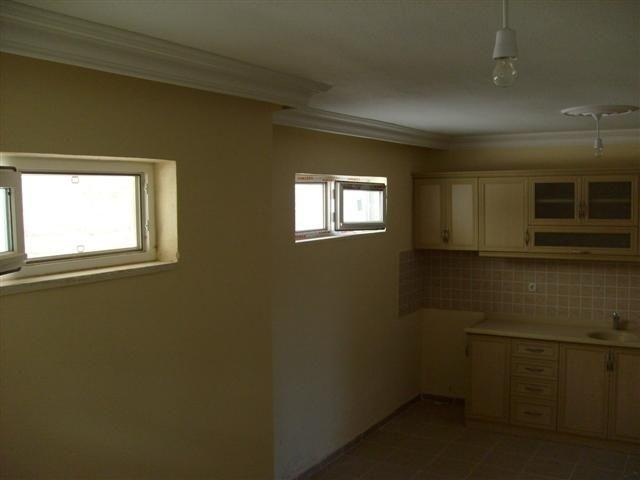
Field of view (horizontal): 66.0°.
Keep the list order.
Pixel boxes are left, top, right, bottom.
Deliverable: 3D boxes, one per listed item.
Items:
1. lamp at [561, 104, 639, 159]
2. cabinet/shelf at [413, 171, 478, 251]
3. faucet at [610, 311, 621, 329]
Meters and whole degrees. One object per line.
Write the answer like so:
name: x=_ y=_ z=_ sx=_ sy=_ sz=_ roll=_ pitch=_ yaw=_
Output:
lamp: x=2.242 y=-0.834 z=3.931 sx=0.432 sy=0.292 sz=0.442 roll=2 pitch=-1 yaw=-21
cabinet/shelf: x=1.426 y=-0.345 z=5.497 sx=0.797 sy=0.970 sz=0.347 roll=0 pitch=0 yaw=23
faucet: x=3.062 y=0.829 z=5.078 sx=0.096 sy=0.172 sz=0.146 roll=4 pitch=6 yaw=33
